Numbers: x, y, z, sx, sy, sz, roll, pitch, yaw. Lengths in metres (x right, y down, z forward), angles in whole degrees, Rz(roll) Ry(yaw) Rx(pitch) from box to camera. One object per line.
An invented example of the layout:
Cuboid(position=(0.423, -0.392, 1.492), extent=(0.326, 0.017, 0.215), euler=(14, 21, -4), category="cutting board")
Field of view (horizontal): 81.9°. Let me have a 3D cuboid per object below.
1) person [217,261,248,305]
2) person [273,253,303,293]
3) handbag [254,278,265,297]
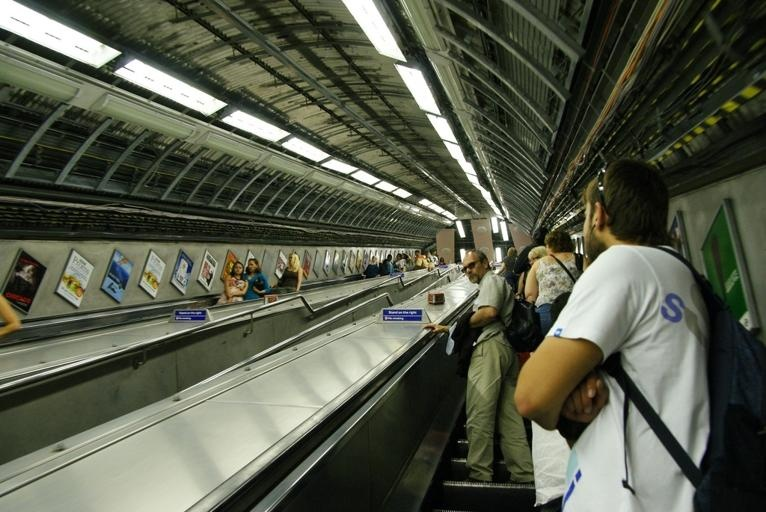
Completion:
Cuboid(position=(-3.093, 0.579, 9.069), extent=(0.472, 0.817, 0.524), euler=(-3, -12, -1), category="person")
Cuboid(position=(-2.094, 0.362, 9.812), extent=(0.449, 0.986, 0.903), euler=(0, -12, -14), category="person")
Cuboid(position=(-2.690, 0.685, 9.432), extent=(0.306, 0.374, 0.144), euler=(-1, 0, -29), category="handbag")
